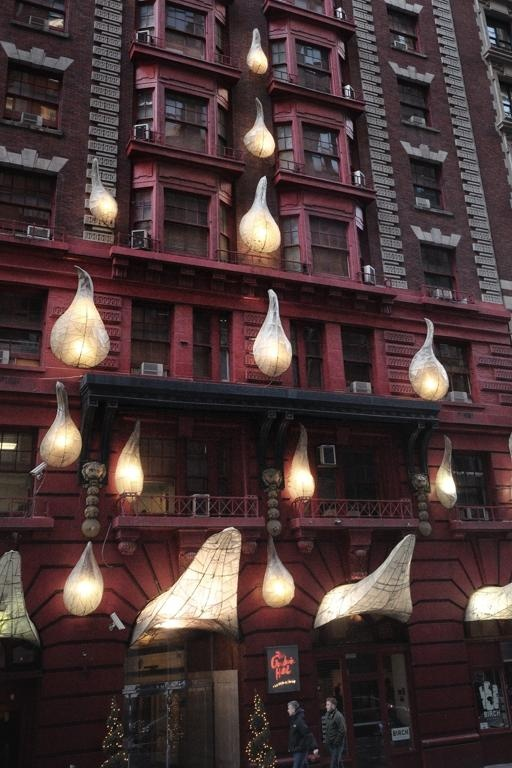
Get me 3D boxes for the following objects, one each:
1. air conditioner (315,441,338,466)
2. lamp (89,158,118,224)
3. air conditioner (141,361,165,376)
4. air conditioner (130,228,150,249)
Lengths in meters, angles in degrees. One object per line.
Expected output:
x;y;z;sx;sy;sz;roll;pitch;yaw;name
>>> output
1.928;1.925;18.764;0.531;0.712;0.389;10;-30;-16;air conditioner
-4.074;-5.160;18.123;0.715;1.793;0.736;2;-22;-14;lamp
-2.700;-0.378;17.500;0.422;0.267;0.417;1;-2;-30;air conditioner
-3.160;-3.926;18.430;0.593;0.564;0.815;3;8;4;air conditioner
